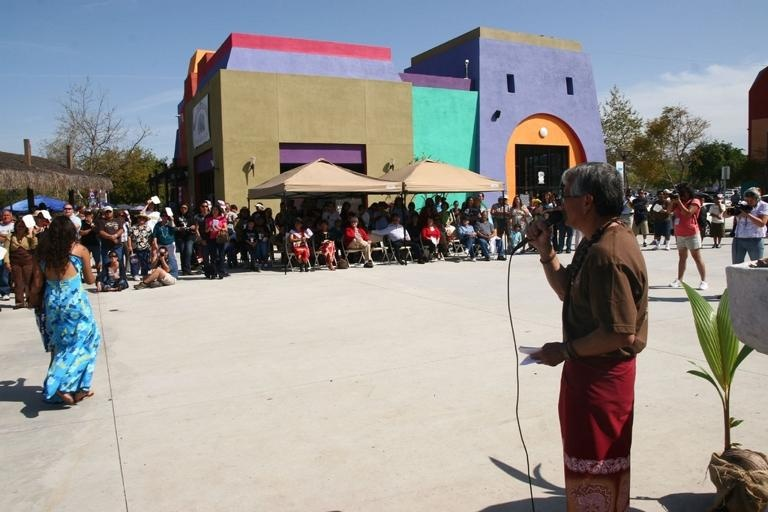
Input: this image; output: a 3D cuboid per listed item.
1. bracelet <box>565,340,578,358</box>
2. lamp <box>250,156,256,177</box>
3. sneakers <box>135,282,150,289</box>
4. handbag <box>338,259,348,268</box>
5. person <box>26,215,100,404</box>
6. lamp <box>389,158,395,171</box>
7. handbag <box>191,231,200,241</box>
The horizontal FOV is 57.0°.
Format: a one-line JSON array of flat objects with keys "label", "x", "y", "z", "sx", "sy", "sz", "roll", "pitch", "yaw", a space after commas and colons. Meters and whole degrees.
[{"label": "bracelet", "x": 1.436, "y": 0.708, "z": 5.412, "sx": 0.047, "sy": 0.115, "sz": 0.094, "roll": -9, "pitch": -27, "yaw": 15}, {"label": "lamp", "x": -4.233, "y": -2.888, "z": 22.760, "sx": 0.164, "sy": 0.557, "sz": 0.233, "roll": -1, "pitch": 14, "yaw": 2}, {"label": "sneakers", "x": -5.123, "y": 0.630, "z": 14.877, "sx": 0.218, "sy": 0.101, "sz": 0.107, "roll": 5, "pitch": -1, "yaw": -33}, {"label": "handbag", "x": -1.015, "y": 0.196, "z": 17.694, "sx": 0.187, "sy": 0.153, "sz": 0.196, "roll": 3, "pitch": -5, "yaw": -14}, {"label": "person", "x": -3.658, "y": 0.618, "z": 8.102, "sx": 0.702, "sy": 2.020, "sz": 0.816, "roll": -8, "pitch": 15, "yaw": -27}, {"label": "lamp", "x": 0.298, "y": -3.225, "z": 24.767, "sx": 0.133, "sy": 0.368, "sz": 0.288, "roll": 6, "pitch": 16, "yaw": 27}, {"label": "handbag", "x": -4.653, "y": -0.507, "z": 17.417, "sx": 0.177, "sy": 0.357, "sz": 0.235, "roll": -1, "pitch": -1, "yaw": 43}]
